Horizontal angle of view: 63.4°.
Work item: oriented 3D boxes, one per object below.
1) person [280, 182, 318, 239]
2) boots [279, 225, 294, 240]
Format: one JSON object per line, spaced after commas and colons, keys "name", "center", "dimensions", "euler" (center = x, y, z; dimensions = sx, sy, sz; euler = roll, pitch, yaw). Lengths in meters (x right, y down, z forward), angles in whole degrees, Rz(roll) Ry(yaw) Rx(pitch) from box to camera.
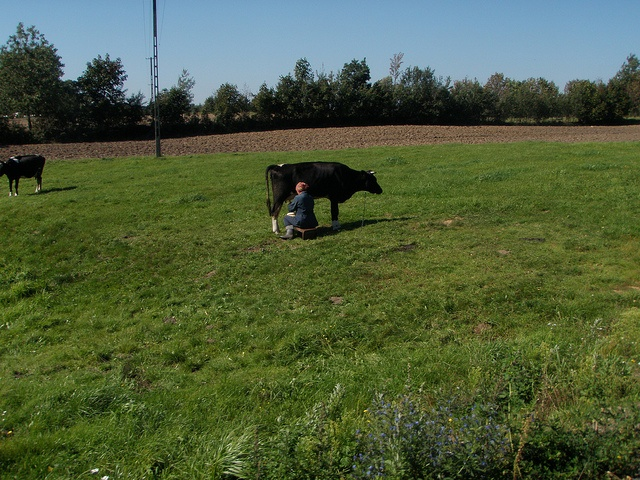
{"name": "person", "center": [-0.660, -0.916, 15.679], "dimensions": [0.888, 1.712, 0.954], "euler": [-3, 3, -40]}
{"name": "boots", "center": [-0.974, -0.237, 15.492], "dimensions": [0.433, 0.509, 0.253], "euler": [3, -1, 1]}
